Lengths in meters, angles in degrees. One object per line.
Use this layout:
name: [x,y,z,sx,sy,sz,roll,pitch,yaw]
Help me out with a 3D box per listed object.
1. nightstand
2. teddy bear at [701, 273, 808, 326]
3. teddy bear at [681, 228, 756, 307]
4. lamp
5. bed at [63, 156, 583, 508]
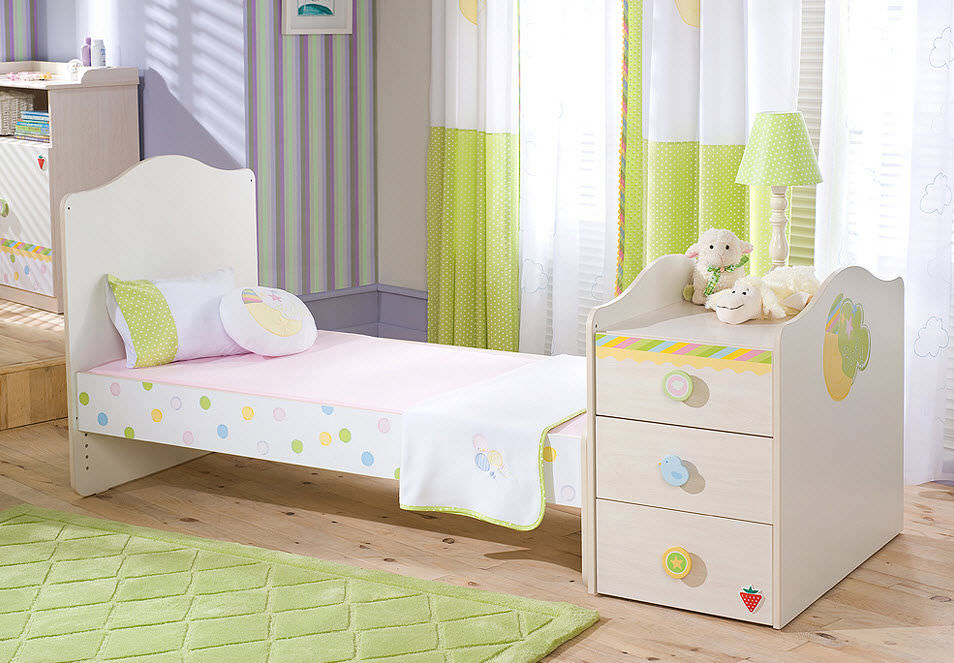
nightstand: [0.894,0.296,2.688,0.636,0.956,1.029,3,9,42]
teddy bear: [0.859,-0.098,2.465,0.235,0.076,0.186,-26,21,-39]
teddy bear: [0.755,-0.233,2.689,0.296,0.298,0.220,3,9,33]
lamp: [1.046,-0.494,2.851,0.256,0.517,0.527,6,14,26]
bed: [-0.458,-0.010,3.158,1.812,1.300,1.037,6,13,23]
